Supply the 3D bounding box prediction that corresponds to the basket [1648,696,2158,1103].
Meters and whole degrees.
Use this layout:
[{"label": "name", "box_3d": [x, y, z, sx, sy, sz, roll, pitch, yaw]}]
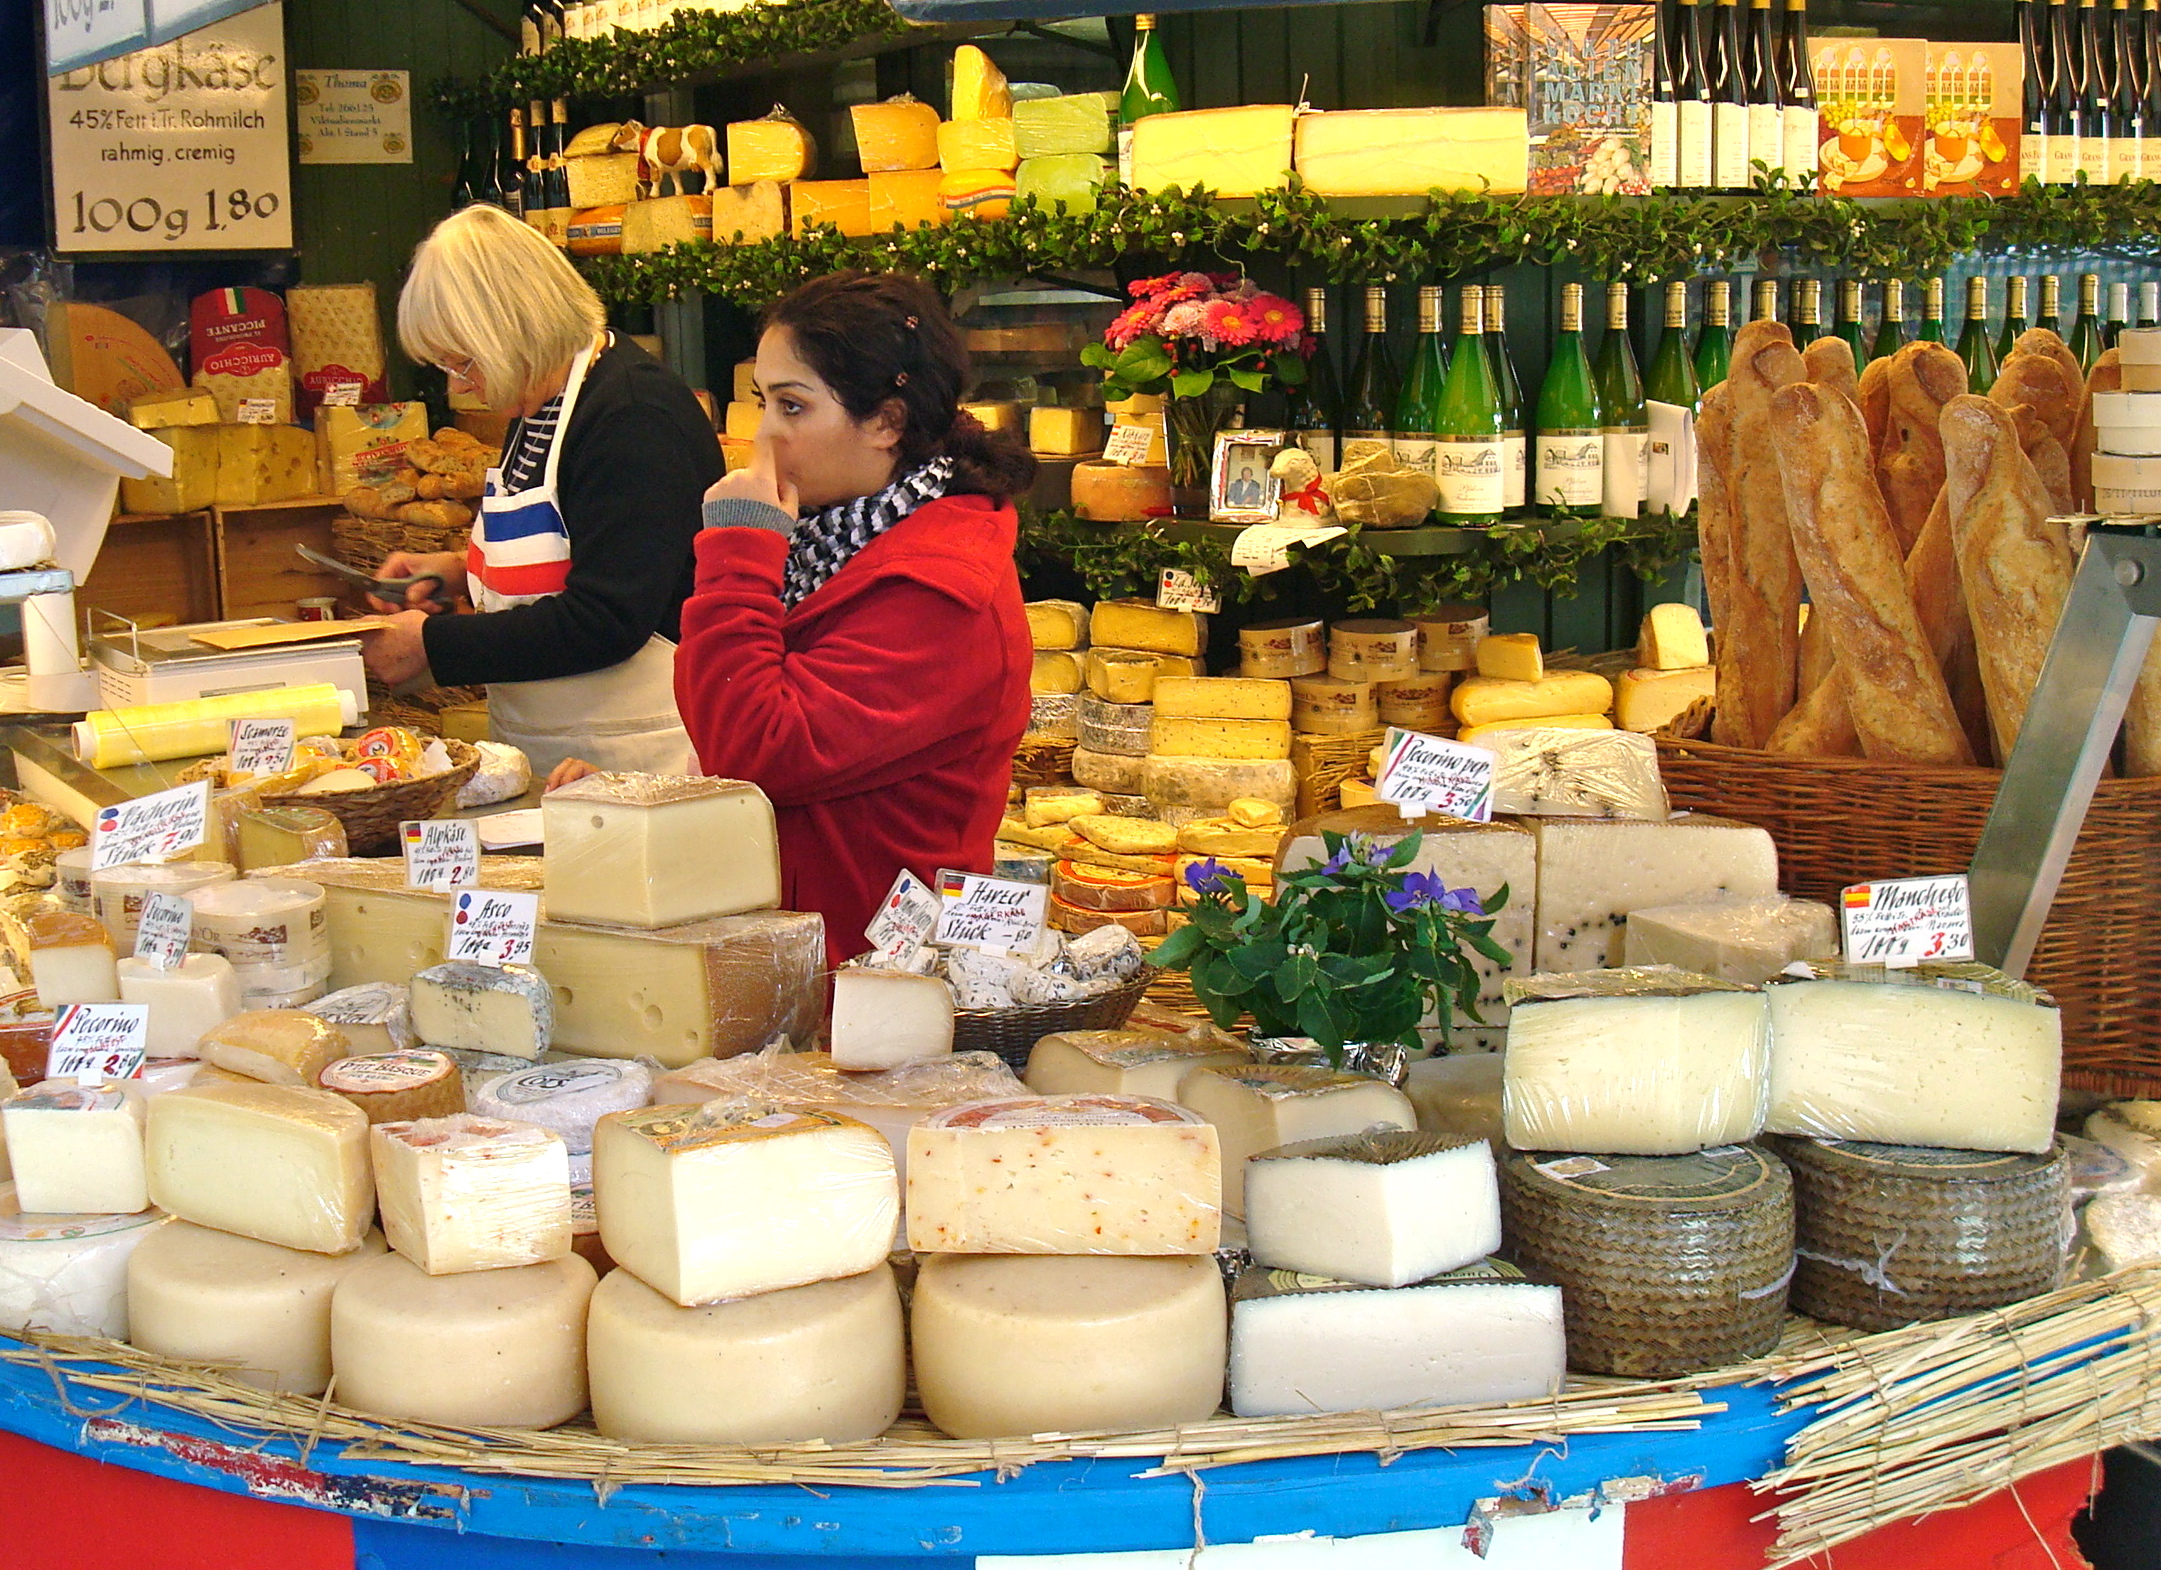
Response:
[{"label": "basket", "box_3d": [1.015, 0.155, 2.321, 0.141, 0.390, 0.590, -11, 13, -39]}]
